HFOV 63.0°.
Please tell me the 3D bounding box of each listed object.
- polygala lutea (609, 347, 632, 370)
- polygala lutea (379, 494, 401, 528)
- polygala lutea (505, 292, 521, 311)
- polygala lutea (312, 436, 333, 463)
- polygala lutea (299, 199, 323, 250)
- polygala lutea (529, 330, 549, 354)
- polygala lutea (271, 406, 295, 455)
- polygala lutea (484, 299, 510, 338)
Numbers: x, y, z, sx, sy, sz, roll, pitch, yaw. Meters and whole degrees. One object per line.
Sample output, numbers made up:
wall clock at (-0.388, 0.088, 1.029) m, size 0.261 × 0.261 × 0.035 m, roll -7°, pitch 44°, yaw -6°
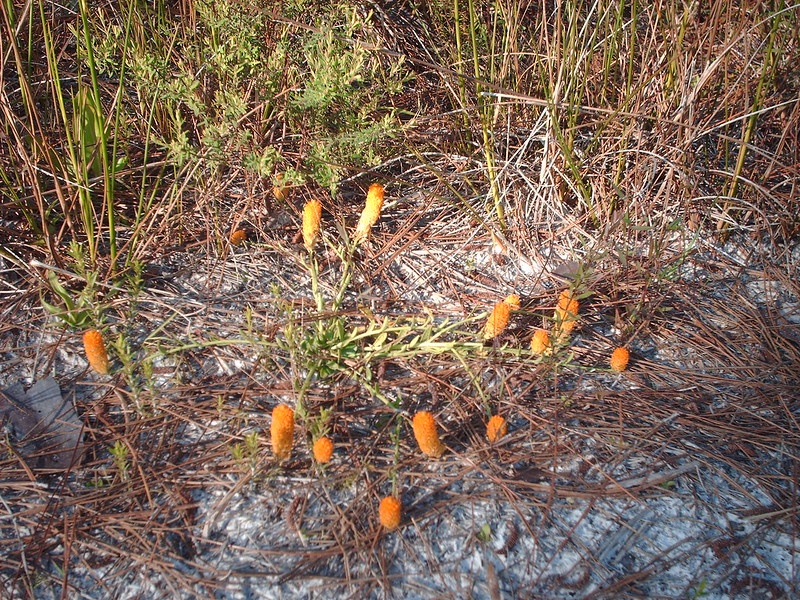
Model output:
polygala lutea at (0.674, 0.188, 2.019) m, size 0.040 × 0.062 × 0.076 m, roll 5°, pitch 98°, yaw -9°
polygala lutea at (-0.024, 0.560, 1.759) m, size 0.070 × 0.077 × 0.101 m, roll 2°, pitch 100°, yaw 6°
polygala lutea at (0.357, 0.014, 2.111) m, size 0.055 × 0.054 × 0.047 m, roll 18°, pitch 37°, yaw 34°
polygala lutea at (-0.204, 0.416, 1.792) m, size 0.055 × 0.059 × 0.073 m, roll 12°, pitch 61°, yaw -19°
polygala lutea at (-0.293, -0.258, 2.095) m, size 0.059 × 0.208 × 0.071 m, roll 11°, pitch 21°, yaw 10°
polygala lutea at (0.437, 0.138, 2.033) m, size 0.055 × 0.041 × 0.070 m, roll 12°, pitch 91°, yaw 46°
polygala lutea at (-0.319, 0.350, 1.754) m, size 0.047 × 0.145 × 0.066 m, roll -12°, pitch 24°, yaw -44°
polygala lutea at (0.290, 0.062, 2.019) m, size 0.059 × 0.046 × 0.120 m, roll 39°, pitch 112°, yaw 34°
